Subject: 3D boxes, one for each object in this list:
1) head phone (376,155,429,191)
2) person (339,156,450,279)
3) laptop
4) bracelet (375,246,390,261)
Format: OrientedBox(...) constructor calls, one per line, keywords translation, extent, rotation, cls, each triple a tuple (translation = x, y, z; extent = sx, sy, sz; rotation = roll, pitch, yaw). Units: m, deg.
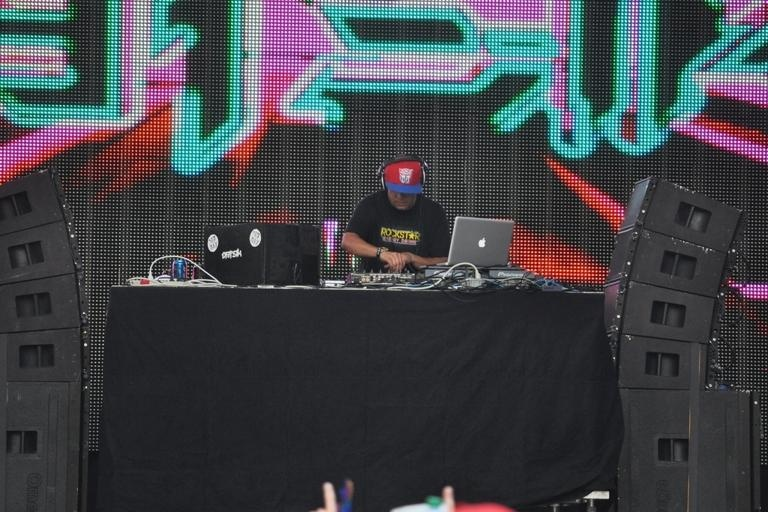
OrientedBox(translation=(0.127, -0.523, 5.606), extent=(0.298, 0.187, 0.389), rotation=(-6, 24, -22), cls="head phone")
OrientedBox(translation=(0.094, -0.283, 5.783), extent=(0.704, 1.139, 0.724), rotation=(1, 7, -2), cls="person")
OrientedBox(translation=(0.529, -0.065, 4.831), extent=(0.355, 0.274, 0.257), rotation=(4, 3, -24), cls="laptop")
OrientedBox(translation=(-0.008, -0.003, 5.361), extent=(0.086, 0.107, 0.065), rotation=(-1, 17, -6), cls="bracelet")
